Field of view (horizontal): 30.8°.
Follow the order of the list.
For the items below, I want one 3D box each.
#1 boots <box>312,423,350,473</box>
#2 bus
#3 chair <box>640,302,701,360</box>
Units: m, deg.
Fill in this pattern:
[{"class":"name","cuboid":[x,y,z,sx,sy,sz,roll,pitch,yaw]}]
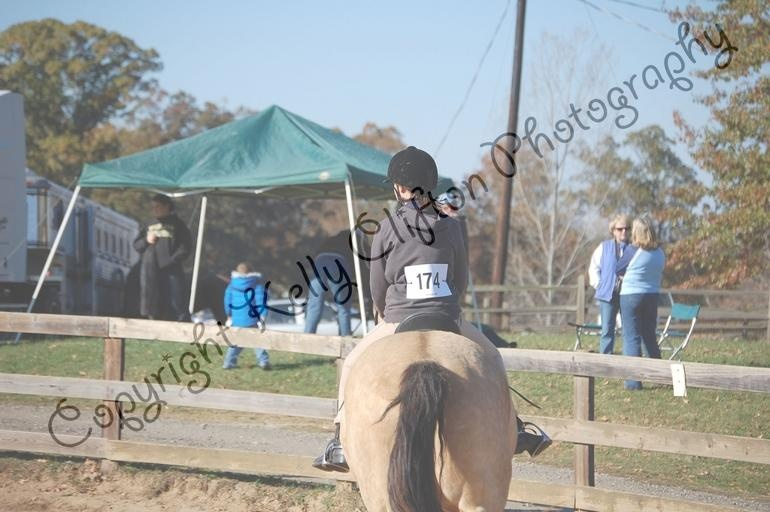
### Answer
[{"class":"boots","cuboid":[-0.990,3.525,25.492,0.345,0.844,0.990,23,-29,-26]},{"class":"bus","cuboid":[-7.080,-0.242,31.598,0.826,3.092,3.320,-2,-6,33]},{"class":"chair","cuboid":[6.028,1.662,29.473,0.790,1.215,0.753,-4,12,-25]}]
